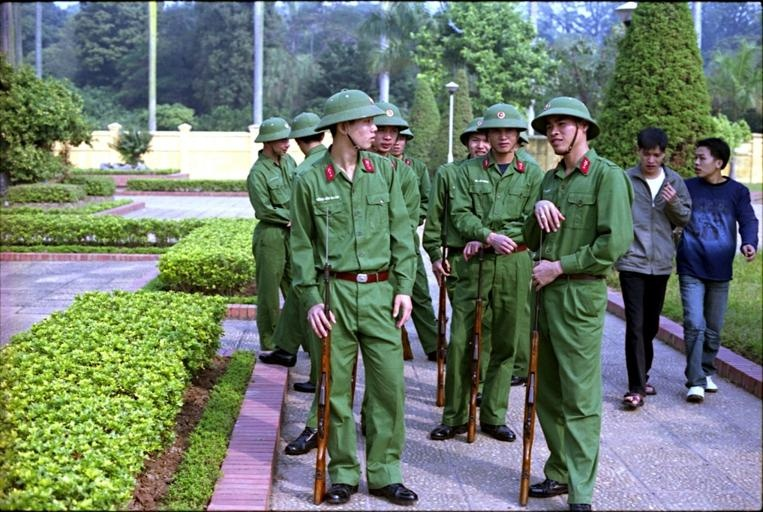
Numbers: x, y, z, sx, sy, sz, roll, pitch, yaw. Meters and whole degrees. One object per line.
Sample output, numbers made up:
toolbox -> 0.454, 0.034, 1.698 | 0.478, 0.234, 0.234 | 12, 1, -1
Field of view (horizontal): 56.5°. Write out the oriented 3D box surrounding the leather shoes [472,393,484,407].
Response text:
leather shoes -> 0.870, 1.304, 6.399 | 0.123, 0.169, 0.068 | -4, -10, 38

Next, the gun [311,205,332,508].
gun -> -0.441, 0.687, 5.231 | 0.097, 2.215, 0.385 | -1, 3, 14

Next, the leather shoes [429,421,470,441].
leather shoes -> 0.580, 1.536, 6.198 | 0.358, 0.151, 0.127 | 4, -5, -30

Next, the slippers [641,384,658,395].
slippers -> 2.636, 1.298, 6.975 | 0.132, 0.049, 0.161 | 0, 3, 4

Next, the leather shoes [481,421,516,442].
leather shoes -> 1.019, 1.541, 6.218 | 0.306, 0.137, 0.121 | -2, -2, 43

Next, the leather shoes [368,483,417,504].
leather shoes -> 0.087, 1.746, 5.283 | 0.359, 0.141, 0.141 | -2, -3, 26

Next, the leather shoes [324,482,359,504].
leather shoes -> -0.303, 1.756, 5.225 | 0.098, 0.114, 0.273 | -5, -15, 27

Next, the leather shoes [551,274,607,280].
leather shoes -> 1.486, 0.152, 5.287 | 0.357, 0.052, 0.119 | 1, 8, 9

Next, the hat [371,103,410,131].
hat -> 0.098, -1.399, 7.121 | 0.449, 0.272, 0.551 | 0, 8, -8

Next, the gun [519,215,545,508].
gun -> 1.187, 0.813, 5.593 | 0.098, 2.219, 0.394 | 4, -8, 6

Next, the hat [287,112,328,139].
hat -> -0.789, -1.323, 7.229 | 0.500, 0.275, 0.531 | -4, 10, 9

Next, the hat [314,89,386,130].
hat -> -0.245, -1.102, 5.257 | 0.549, 0.290, 0.365 | 1, 9, 9

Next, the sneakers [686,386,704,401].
sneakers -> 3.049, 1.331, 6.875 | 0.132, 0.146, 0.189 | 4, 10, 31

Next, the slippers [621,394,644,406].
slippers -> 2.370, 1.376, 6.716 | 0.194, 0.085, 0.098 | 1, -38, 8

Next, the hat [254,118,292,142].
hat -> -1.183, -1.366, 7.637 | 0.311, 0.163, 0.329 | -12, 17, -13

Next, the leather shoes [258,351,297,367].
leather shoes -> -1.055, 1.048, 7.350 | 0.407, 0.163, 0.150 | 8, 0, 1

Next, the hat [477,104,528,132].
hat -> 1.049, -1.203, 6.149 | 0.337, 0.165, 0.338 | 2, 6, 0

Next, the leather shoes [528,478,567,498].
leather shoes -> 1.247, 1.765, 5.399 | 0.324, 0.139, 0.128 | 2, -3, -8
